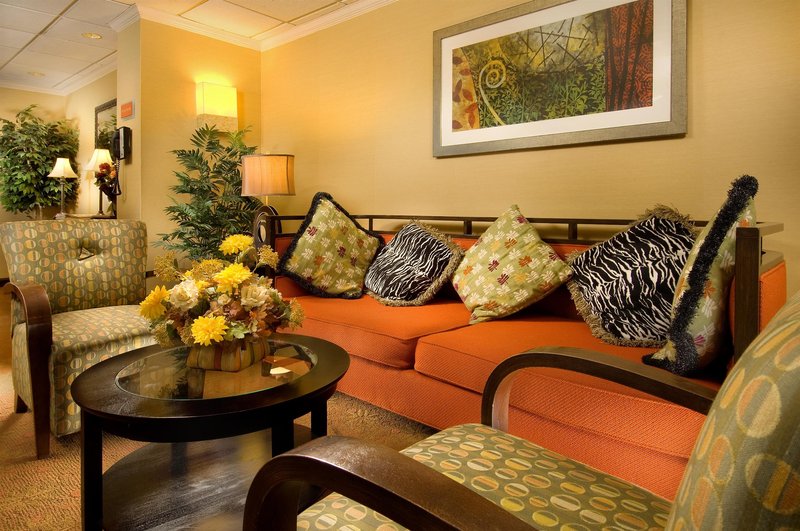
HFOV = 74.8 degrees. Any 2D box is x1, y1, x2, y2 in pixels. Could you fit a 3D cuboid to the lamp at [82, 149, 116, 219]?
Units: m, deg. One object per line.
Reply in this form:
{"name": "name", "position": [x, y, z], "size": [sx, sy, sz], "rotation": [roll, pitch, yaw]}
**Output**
{"name": "lamp", "position": [-3.292, -0.906, 5.747], "size": [0.259, 0.738, 1.167], "rotation": [-9, 16, -29]}

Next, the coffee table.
{"name": "coffee table", "position": [-0.746, 0.490, 1.896], "size": [0.707, 0.419, 0.706], "rotation": [3, 5, 32]}

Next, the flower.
{"name": "flower", "position": [-0.711, 0.090, 2.131], "size": [0.568, 0.368, 0.491], "rotation": [0, 5, -3]}

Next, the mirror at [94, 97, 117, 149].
{"name": "mirror", "position": [-3.377, -1.619, 5.979], "size": [0.209, 0.532, 0.898], "rotation": [-10, 17, -34]}

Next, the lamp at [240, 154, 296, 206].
{"name": "lamp", "position": [-1.066, -0.675, 4.149], "size": [0.367, 0.383, 0.365], "rotation": [3, 5, 18]}

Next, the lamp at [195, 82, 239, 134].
{"name": "lamp", "position": [-1.652, -1.409, 4.688], "size": [0.361, 0.416, 0.146], "rotation": [-7, 16, -26]}

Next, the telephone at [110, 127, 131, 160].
{"name": "telephone", "position": [-2.440, -1.056, 4.599], "size": [0.271, 0.245, 0.090], "rotation": [7, 8, 44]}
